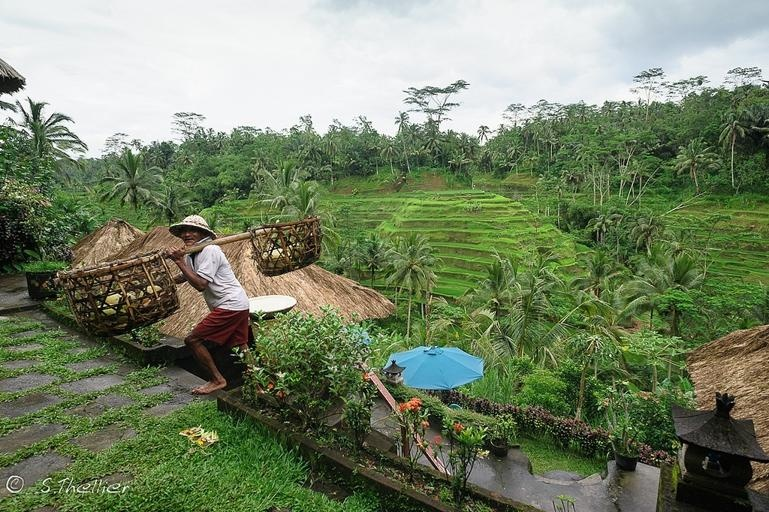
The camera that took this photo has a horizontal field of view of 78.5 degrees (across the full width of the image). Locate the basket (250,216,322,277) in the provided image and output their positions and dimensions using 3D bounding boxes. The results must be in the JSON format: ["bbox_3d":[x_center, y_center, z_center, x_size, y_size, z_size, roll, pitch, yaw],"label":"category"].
[{"bbox_3d":[-1.409,-0.169,7.272,1.060,0.668,0.830,-16,3,-43],"label":"basket"}]

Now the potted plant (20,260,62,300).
[{"bbox_3d":[-7.706,0.561,10.663,0.733,0.660,0.655,5,-3,-13],"label":"potted plant"}]

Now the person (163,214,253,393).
[{"bbox_3d":[-2.587,0.835,7.195,0.988,2.896,1.146,-6,13,-15],"label":"person"}]

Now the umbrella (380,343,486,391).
[{"bbox_3d":[1.155,2.590,11.248,1.837,0.660,1.784,25,25,36],"label":"umbrella"}]
